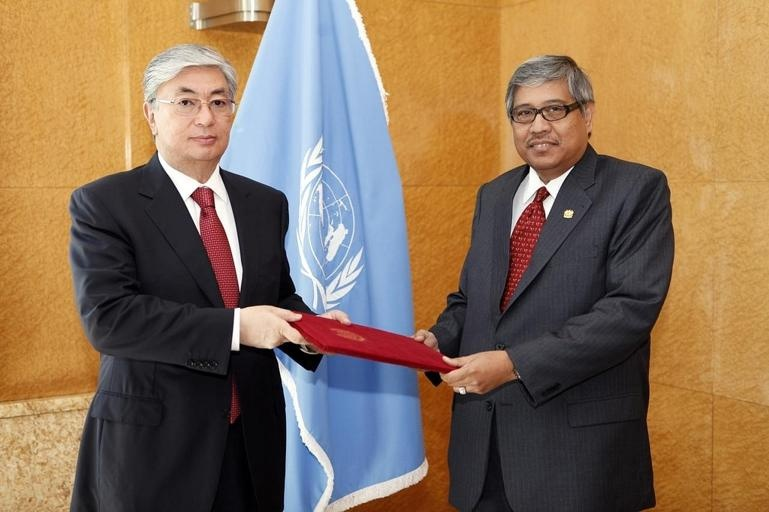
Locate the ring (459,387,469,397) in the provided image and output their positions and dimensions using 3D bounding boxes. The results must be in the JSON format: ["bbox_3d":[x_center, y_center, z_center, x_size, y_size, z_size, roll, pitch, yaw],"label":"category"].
[{"bbox_3d":[0.337,0.567,2.910,0.043,0.027,0.056,0,-10,4],"label":"ring"}]

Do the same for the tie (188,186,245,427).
[{"bbox_3d":[-0.635,0.125,2.619,0.147,1.008,0.107,10,-33,-32],"label":"tie"}]
